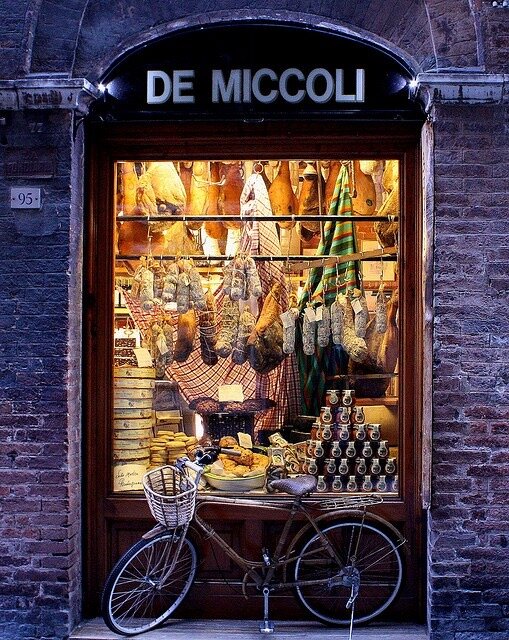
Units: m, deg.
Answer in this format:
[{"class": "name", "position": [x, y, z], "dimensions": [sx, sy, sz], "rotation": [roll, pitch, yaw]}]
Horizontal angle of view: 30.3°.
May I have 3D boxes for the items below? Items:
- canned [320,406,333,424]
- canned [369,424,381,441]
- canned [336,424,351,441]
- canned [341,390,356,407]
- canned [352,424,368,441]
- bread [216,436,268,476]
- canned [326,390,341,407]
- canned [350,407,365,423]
[{"class": "canned", "position": [0.402, 0.537, 5.215], "dimensions": [0.091, 0.084, 0.064], "rotation": [-1, -6, 7]}, {"class": "canned", "position": [0.652, 0.613, 5.115], "dimensions": [0.078, 0.077, 0.081], "rotation": [7, -8, -43]}, {"class": "canned", "position": [0.487, 0.615, 5.135], "dimensions": [0.088, 0.077, 0.081], "rotation": [2, -2, -35]}, {"class": "canned", "position": [0.512, 0.444, 5.236], "dimensions": [0.070, 0.084, 0.090], "rotation": [1, -5, -1]}, {"class": "canned", "position": [0.571, 0.610, 5.130], "dimensions": [0.084, 0.081, 0.082], "rotation": [2, -10, -7]}, {"class": "bread", "position": [-0.072, 0.736, 5.109], "dimensions": [0.214, 0.063, 0.205], "rotation": [4, 32, 3]}, {"class": "canned", "position": [0.432, 0.438, 5.196], "dimensions": [0.084, 0.081, 0.082], "rotation": [0, -3, 10]}, {"class": "canned", "position": [0.565, 0.525, 5.199], "dimensions": [0.068, 0.085, 0.087], "rotation": [2, -10, -6]}]
